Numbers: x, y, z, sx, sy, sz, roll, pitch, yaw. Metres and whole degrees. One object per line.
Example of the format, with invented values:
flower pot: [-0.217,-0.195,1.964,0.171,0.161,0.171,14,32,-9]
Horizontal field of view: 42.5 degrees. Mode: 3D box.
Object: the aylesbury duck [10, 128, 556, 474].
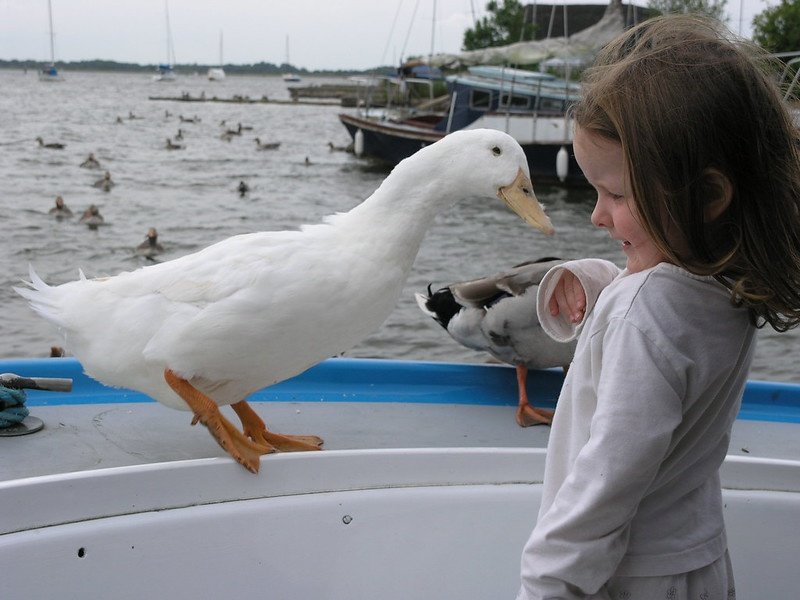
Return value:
aylesbury duck: [-0.278,-0.028,2.318,1.269,0.698,0.468,2,-2,13]
